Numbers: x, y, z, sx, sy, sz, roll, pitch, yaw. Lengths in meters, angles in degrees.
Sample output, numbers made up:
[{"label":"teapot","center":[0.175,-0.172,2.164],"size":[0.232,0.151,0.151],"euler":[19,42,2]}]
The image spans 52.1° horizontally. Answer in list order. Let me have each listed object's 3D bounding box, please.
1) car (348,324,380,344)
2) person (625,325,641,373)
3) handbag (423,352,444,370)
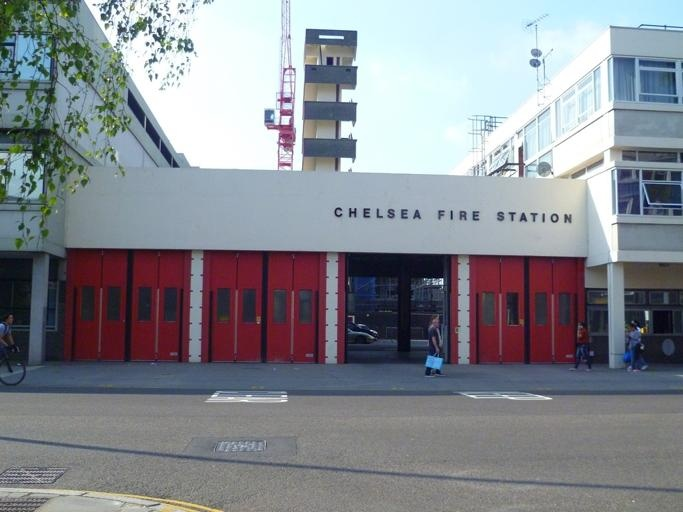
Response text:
[{"label":"car","center":[1.173,4.785,42.319],"size":[1.403,1.103,1.864],"euler":[-4,-8,35]},{"label":"person","center":[10.896,3.363,25.912],"size":[0.486,1.755,1.065],"euler":[-2,-6,22]},{"label":"handbag","center":[3.077,3.498,23.088],"size":[0.487,0.462,0.274],"euler":[-2,-6,19]}]
